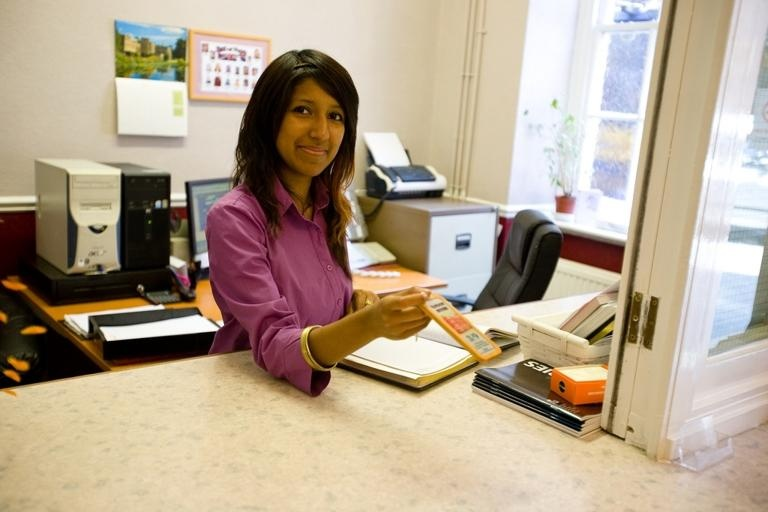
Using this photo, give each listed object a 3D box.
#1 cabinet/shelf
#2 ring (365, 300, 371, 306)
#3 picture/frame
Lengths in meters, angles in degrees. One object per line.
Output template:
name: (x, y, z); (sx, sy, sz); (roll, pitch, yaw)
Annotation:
cabinet/shelf: (0.347, -0.127, 3.636); (0.872, 0.910, 0.553); (13, 20, 42)
ring: (-0.050, 0.147, 1.630); (0.024, 0.022, 0.014); (1, 55, -1)
picture/frame: (-0.862, -1.068, 3.007); (0.513, 0.353, 0.021); (10, 17, 17)
